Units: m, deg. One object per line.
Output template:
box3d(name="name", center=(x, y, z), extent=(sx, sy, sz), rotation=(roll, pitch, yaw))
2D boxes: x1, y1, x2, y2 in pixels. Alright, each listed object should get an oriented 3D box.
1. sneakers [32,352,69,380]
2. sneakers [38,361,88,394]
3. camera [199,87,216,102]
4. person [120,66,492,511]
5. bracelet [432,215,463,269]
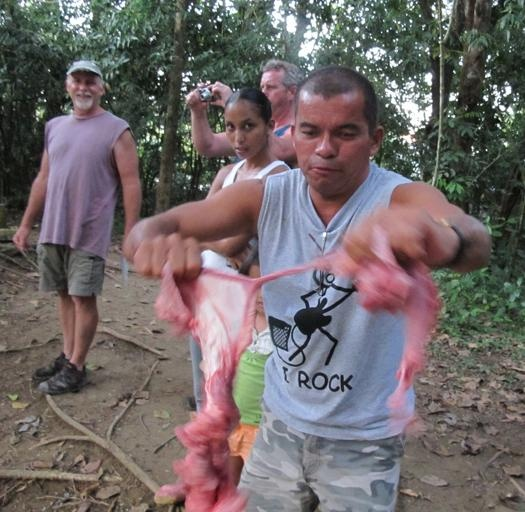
box3d(name="sneakers", center=(-1.642, 0.852, 4.192), extent=(0.092, 0.118, 0.280), rotation=(30, 29, 17))
box3d(name="sneakers", center=(-1.448, 0.878, 4.053), extent=(0.390, 0.264, 0.163), rotation=(3, 11, -34))
box3d(name="camera", center=(-0.393, -1.130, 3.815), extent=(0.028, 0.102, 0.107), rotation=(2, 14, 37))
box3d(name="person", center=(0.152, 0.196, 1.743), extent=(0.999, 1.626, 0.711), rotation=(9, 7, 21))
box3d(name="bracelet", center=(0.504, -0.031, 1.454), extent=(0.074, 0.136, 0.094), rotation=(11, 8, 37))
